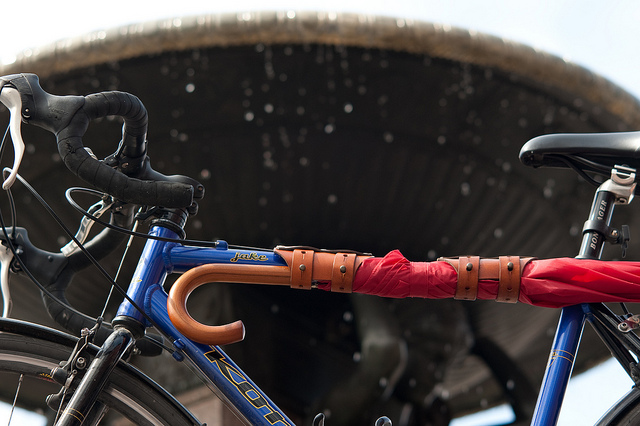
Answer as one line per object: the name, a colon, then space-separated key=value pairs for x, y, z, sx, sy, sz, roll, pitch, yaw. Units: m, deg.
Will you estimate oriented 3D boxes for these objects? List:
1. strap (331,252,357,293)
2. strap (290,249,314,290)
strap: x=0.096 y=0.237 z=3.325 sx=0.081 sy=0.168 sz=0.142 roll=6 pitch=-16 yaw=3
strap: x=-0.068 y=0.218 z=3.269 sx=0.093 sy=0.196 sz=0.124 roll=4 pitch=-18 yaw=5
